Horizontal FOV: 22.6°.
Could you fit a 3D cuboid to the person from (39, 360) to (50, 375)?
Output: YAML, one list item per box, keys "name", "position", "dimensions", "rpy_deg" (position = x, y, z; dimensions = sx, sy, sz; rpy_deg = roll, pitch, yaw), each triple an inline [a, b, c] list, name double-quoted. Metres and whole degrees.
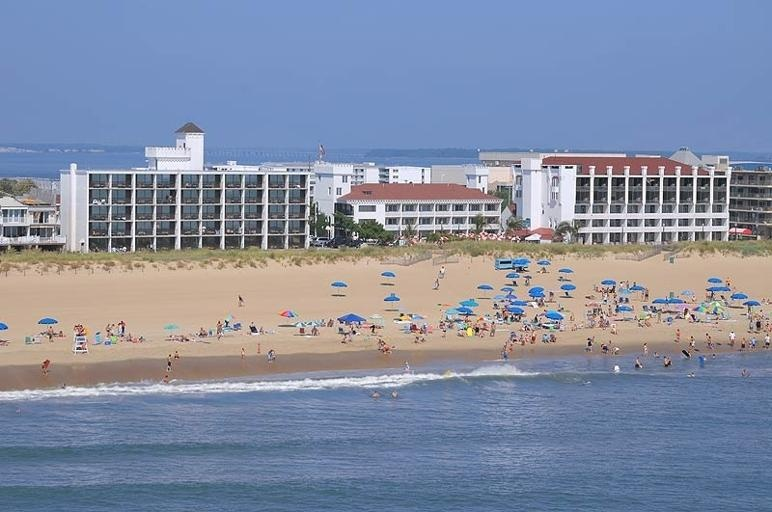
- name: "person"
  position: [-30.759, 9.582, 174.589]
  dimensions: [0.757, 1.177, 1.797]
  rpy_deg: [-1, 15, -11]

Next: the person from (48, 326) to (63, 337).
- name: "person"
  position: [-31.400, 6.826, 184.174]
  dimensions: [1.026, 1.199, 1.273]
  rpy_deg: [3, 5, 24]
